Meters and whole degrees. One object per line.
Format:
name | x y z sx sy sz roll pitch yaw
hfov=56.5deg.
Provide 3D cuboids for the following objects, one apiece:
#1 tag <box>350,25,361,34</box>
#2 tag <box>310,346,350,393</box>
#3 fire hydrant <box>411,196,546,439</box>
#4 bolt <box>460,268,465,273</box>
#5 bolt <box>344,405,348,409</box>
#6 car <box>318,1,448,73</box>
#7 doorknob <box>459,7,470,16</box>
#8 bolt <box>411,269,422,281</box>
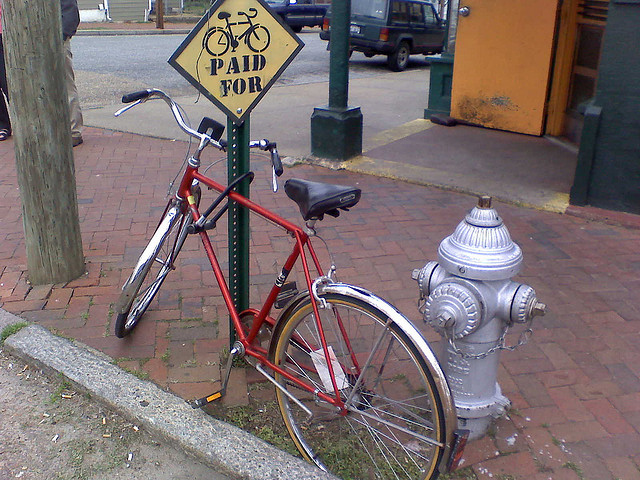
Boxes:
tag | 0.952 -5.578 15.728 0.062 0.207 0.369 -13 26 -31
tag | 0.049 0.705 3.230 0.206 0.312 0.072 -23 -9 26
fire hydrant | 0.893 0.445 3.453 0.595 1.413 0.468 -1 23 -6
bolt | 0.784 0.166 3.288 0.031 0.029 0.007 4 1 13
bolt | 0.139 0.885 3.154 0.026 0.023 0.006 5 -1 13
car | 2.458 -5.781 16.752 1.295 1.783 3.622 22 30 40
doorknob | 2.126 -3.399 8.839 0.147 0.115 0.060 16 27 31
bolt | 0.586 0.201 3.599 0.045 0.058 0.060 14 -8 -30
